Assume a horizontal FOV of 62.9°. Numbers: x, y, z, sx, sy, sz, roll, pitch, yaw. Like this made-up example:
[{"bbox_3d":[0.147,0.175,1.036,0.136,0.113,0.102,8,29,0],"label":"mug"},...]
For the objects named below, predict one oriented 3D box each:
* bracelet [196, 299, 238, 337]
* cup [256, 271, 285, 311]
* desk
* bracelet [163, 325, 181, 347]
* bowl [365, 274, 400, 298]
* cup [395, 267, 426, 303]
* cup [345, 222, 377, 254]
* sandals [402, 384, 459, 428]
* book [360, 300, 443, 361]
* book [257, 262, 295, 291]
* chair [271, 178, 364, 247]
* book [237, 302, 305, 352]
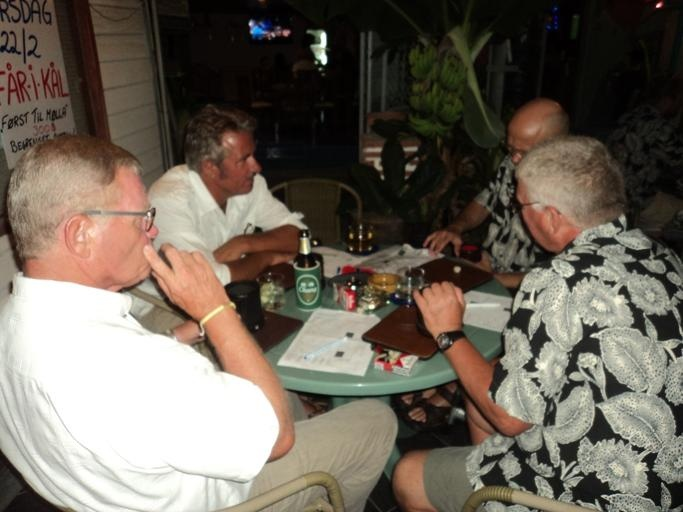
[{"bbox_3d":[-0.450,0.210,1.976,0.156,0.151,0.041,-35,70,-12],"label":"bracelet"},{"bbox_3d":[-0.333,0.160,2.618,0.169,0.159,0.159,-1,11,0],"label":"cup"},{"bbox_3d":[0.303,0.406,2.622,1.211,0.661,1.156,17,39,26],"label":"desk"},{"bbox_3d":[-0.636,0.295,2.077,0.073,0.015,0.064,-3,34,9],"label":"bracelet"},{"bbox_3d":[0.195,0.127,2.630,0.122,0.057,0.117,-2,21,1],"label":"bowl"},{"bbox_3d":[0.313,0.133,2.643,0.173,0.158,0.156,0,13,1],"label":"cup"},{"bbox_3d":[0.079,-0.117,3.261,0.195,0.178,0.183,0,13,0],"label":"cup"},{"bbox_3d":[0.483,0.864,3.185,0.390,0.181,0.129,-8,3,6],"label":"sandals"},{"bbox_3d":[0.257,0.291,2.305,0.243,0.042,0.221,13,34,19],"label":"book"},{"bbox_3d":[-0.336,0.095,2.876,0.149,0.131,0.138,2,15,4],"label":"book"},{"bbox_3d":[-0.186,-0.439,4.341,0.734,0.760,0.557,0,41,-1],"label":"chair"},{"bbox_3d":[-0.294,0.293,2.379,0.189,0.014,0.170,20,30,34],"label":"book"}]
